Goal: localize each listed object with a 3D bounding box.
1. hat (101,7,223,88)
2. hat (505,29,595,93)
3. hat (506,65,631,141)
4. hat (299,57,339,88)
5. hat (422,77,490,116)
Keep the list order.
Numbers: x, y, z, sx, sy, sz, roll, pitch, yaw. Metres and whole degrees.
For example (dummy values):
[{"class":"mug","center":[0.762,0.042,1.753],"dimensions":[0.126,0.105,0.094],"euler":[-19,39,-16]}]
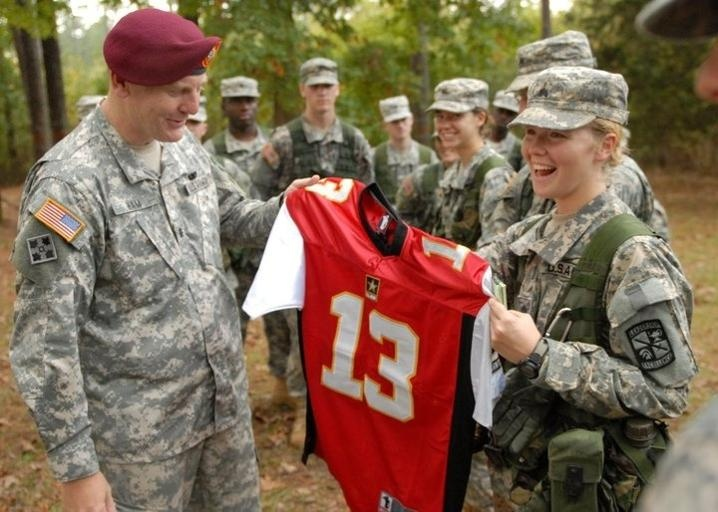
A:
[{"class":"hat","center":[-1.073,-1.096,4.746],"dimensions":[0.571,0.203,0.420],"euler":[6,39,12]},{"class":"hat","center":[1.448,-1.481,6.514],"dimensions":[0.596,0.261,0.446],"euler":[-15,6,-1]},{"class":"hat","center":[1.241,-0.924,5.187],"dimensions":[0.838,0.379,0.579],"euler":[-4,11,-33]},{"class":"hat","center":[-0.367,-1.689,8.053],"dimensions":[0.335,0.254,0.288],"euler":[-3,9,-5]},{"class":"hat","center":[0.828,-1.357,7.248],"dimensions":[0.483,0.206,0.345],"euler":[-3,4,41]}]
